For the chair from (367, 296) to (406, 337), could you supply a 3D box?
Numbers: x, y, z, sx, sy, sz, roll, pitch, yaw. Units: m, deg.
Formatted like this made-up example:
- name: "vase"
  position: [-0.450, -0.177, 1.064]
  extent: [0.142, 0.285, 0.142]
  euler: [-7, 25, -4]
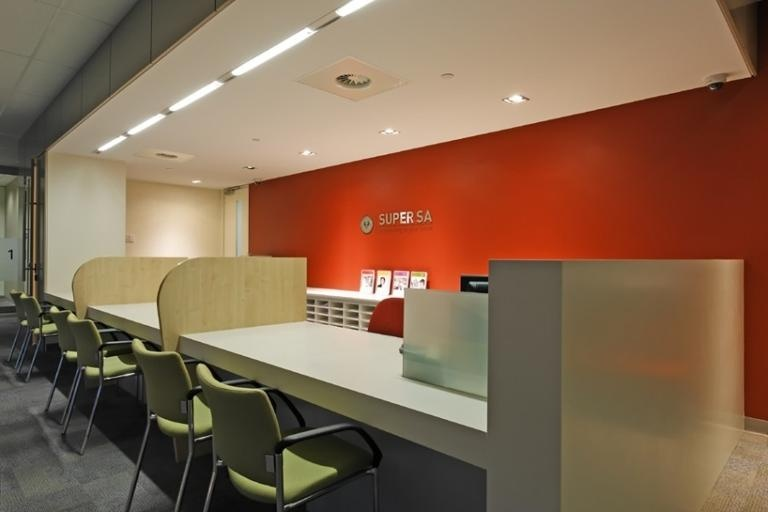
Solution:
- name: "chair"
  position: [-0.027, 0.455, 3.660]
  extent: [0.264, 0.346, 0.300]
  euler: [5, -8, -3]

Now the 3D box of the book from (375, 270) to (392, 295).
- name: "book"
  position: [0.002, 0.346, 6.289]
  extent: [0.044, 0.391, 0.314]
  euler: [4, -3, -36]

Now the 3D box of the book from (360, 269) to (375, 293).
- name: "book"
  position: [-0.209, 0.336, 6.480]
  extent: [0.016, 0.343, 0.292]
  euler: [9, -10, -42]

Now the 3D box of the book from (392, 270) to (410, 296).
- name: "book"
  position: [0.201, 0.313, 5.661]
  extent: [0.043, 0.394, 0.295]
  euler: [2, 2, -41]
